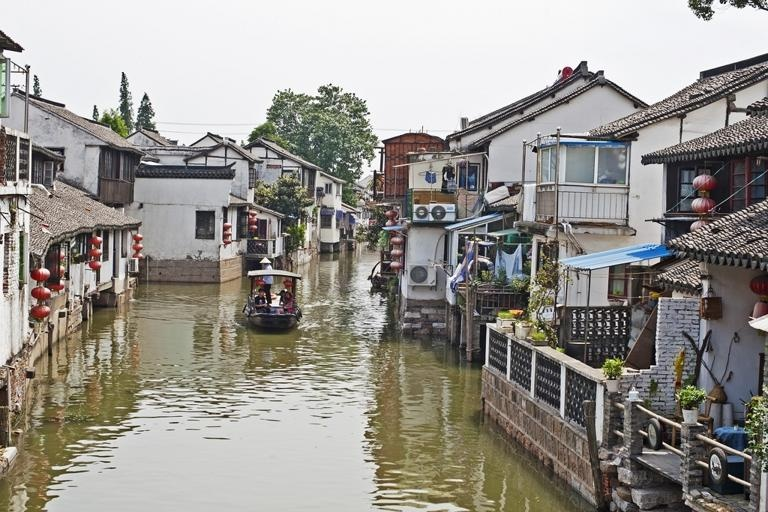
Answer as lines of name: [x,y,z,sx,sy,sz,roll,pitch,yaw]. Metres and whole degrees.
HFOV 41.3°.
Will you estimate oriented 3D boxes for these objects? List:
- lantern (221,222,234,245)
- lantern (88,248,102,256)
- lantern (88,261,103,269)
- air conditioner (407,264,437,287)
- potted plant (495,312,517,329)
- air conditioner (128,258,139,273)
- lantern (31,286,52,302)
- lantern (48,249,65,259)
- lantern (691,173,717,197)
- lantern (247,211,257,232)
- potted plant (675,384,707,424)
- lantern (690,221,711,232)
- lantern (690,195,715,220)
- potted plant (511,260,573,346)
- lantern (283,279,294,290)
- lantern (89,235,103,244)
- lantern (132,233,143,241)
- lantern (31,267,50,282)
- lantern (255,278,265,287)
lantern: [-7.858,-1.063,51.231,0.317,1.102,0.736,3,9,4]
lantern: [-10.267,-0.102,36.347,0.347,0.280,0.375,2,9,-1]
lantern: [-10.312,0.335,36.451,0.415,0.310,0.431,0,9,-16]
air conditioner: [1.375,0.776,37.393,1.231,0.856,0.718,0,-7,-5]
potted plant: [3.168,1.687,26.669,0.419,0.265,0.429,-1,3,-4]
air conditioner: [-10.998,0.427,44.802,0.541,0.654,0.488,1,0,-8]
lantern: [-9.621,1.099,28.606,0.400,0.476,0.502,8,11,33]
lantern: [-10.186,-0.033,31.803,0.503,0.261,0.265,2,6,-17]
lantern: [7.766,-1.713,24.636,0.604,0.551,0.599,8,-10,-33]
lantern: [-7.150,-1.773,55.507,0.492,1.179,1.090,1,9,-9]
potted plant: [5.736,2.918,19.876,0.843,0.826,0.662,0,-11,3]
lantern: [6.965,-0.640,22.438,0.349,0.298,0.338,-2,-10,3]
lantern: [7.575,-1.165,24.443,0.569,0.570,0.552,0,-6,0]
potted plant: [3.976,1.387,26.923,1.323,2.630,1.601,9,18,4]
lantern: [-3.615,1.053,38.588,0.404,0.413,0.180,-5,-5,-8]
lantern: [-10.259,-0.520,36.471,0.355,0.344,0.344,-2,10,-5]
lantern: [-10.959,-0.806,45.573,0.360,0.283,0.349,-2,6,-4]
lantern: [-9.605,0.534,28.595,0.357,0.449,0.433,8,11,31]
lantern: [-4.955,1.122,40.805,0.433,0.229,0.430,-4,6,-34]
